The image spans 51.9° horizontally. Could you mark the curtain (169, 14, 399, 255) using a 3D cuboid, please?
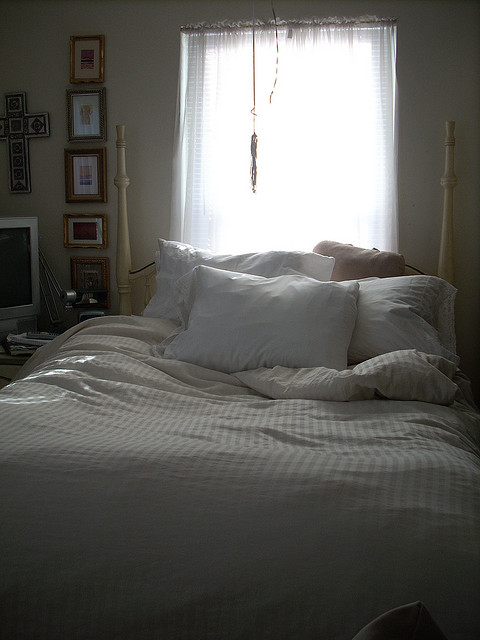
[{"bbox_3d":[0.277,-1.004,2.649,1.071,1.415,0.191,1,10,3],"label":"curtain"}]
